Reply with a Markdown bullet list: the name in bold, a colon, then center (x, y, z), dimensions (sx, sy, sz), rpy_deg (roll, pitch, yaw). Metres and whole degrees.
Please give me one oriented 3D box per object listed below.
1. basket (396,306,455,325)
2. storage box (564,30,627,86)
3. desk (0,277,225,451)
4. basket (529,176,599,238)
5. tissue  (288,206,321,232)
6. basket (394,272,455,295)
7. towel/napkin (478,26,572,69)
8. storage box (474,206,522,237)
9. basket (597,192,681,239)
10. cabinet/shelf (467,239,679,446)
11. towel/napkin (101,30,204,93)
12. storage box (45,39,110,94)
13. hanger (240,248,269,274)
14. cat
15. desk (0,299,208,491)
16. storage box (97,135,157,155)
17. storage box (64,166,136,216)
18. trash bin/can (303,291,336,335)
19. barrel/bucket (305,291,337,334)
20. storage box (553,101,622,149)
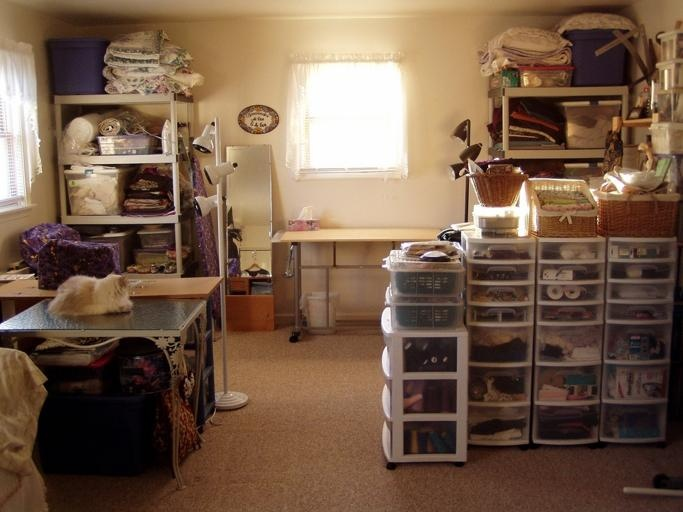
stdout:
- **basket**: center (0.540, 0.375, 3.918), dimensions (0.256, 0.066, 0.168), rpy_deg (1, 2, -1)
- **storage box**: center (2.407, -1.813, 5.998), dimensions (0.687, 0.441, 0.509), rpy_deg (0, 4, 7)
- **desk**: center (-1.649, 0.742, 4.807), dimensions (2.039, 1.157, 1.041), rpy_deg (-1, 5, 0)
- **basket**: center (1.472, -0.324, 4.151), dimensions (0.448, 0.385, 0.309), rpy_deg (-1, 9, 9)
- **tissue **: center (-0.379, -0.381, 6.382), dimensions (0.319, 0.217, 0.279), rpy_deg (0, 2, 1)
- **basket**: center (0.528, 0.170, 3.892), dimensions (0.279, 0.082, 0.177), rpy_deg (1, 6, 1)
- **towel/napkin**: center (1.740, -1.933, 5.824), dimensions (0.579, 0.217, 0.542), rpy_deg (-2, 17, -3)
- **storage box**: center (1.049, -0.234, 4.140), dimensions (0.320, 0.202, 0.268), rpy_deg (-1, 8, 7)
- **basket**: center (1.924, -0.255, 4.031), dimensions (0.393, 0.197, 0.359), rpy_deg (1, 4, 11)
- **cabinet/shelf**: center (1.480, 0.522, 4.099), dimensions (1.720, 1.374, 0.512), rpy_deg (0, 1, 1)
- **towel/napkin**: center (-1.802, -1.784, 5.951), dimensions (0.764, 0.284, 0.675), rpy_deg (1, 14, 0)
- **storage box**: center (-2.511, -1.817, 6.013), dimensions (0.750, 0.454, 0.544), rpy_deg (-9, 21, -11)
- **hanger**: center (-0.916, 0.049, 6.476), dimensions (0.346, 0.197, 0.009), rpy_deg (0, 11, -1)
- **cat**: center (-1.581, 0.245, 3.900), dimensions (0.445, 0.184, 0.280), rpy_deg (-2, 5, -11)
- **desk**: center (-1.497, 0.818, 4.144), dimensions (1.360, 0.806, 1.201), rpy_deg (1, 11, 2)
- **storage box**: center (-2.015, -1.045, 5.889), dimensions (0.538, 0.194, 0.171), rpy_deg (-4, 9, -17)
- **storage box**: center (-2.346, -0.615, 5.928), dimensions (0.530, 0.302, 0.530), rpy_deg (0, 5, -4)
- **trash bin/can**: center (-0.225, 0.577, 6.313), dimensions (0.421, 0.315, 0.417), rpy_deg (-3, 4, -30)
- **barrel/bucket**: center (-0.209, 0.578, 6.306), dimensions (0.425, 0.311, 0.401), rpy_deg (0, 3, 0)
- **storage box**: center (2.297, -1.220, 5.922), dimensions (0.802, 0.453, 0.421), rpy_deg (0, 3, 2)
